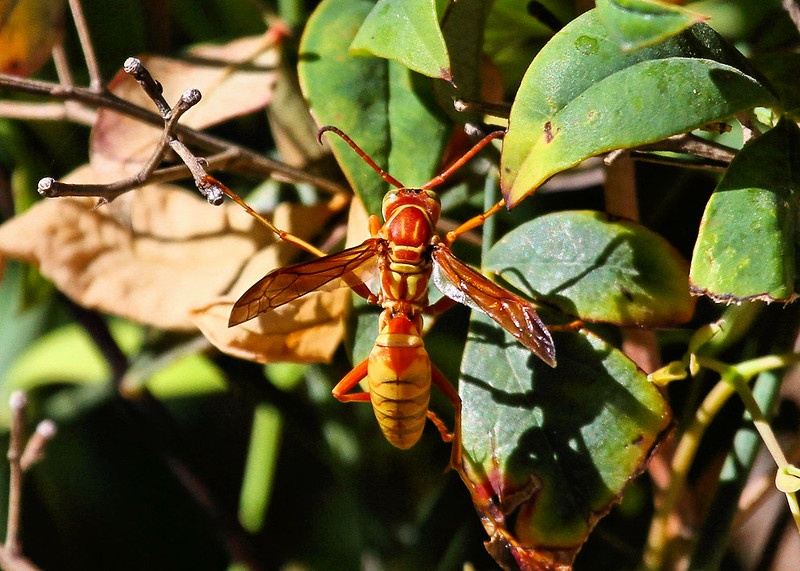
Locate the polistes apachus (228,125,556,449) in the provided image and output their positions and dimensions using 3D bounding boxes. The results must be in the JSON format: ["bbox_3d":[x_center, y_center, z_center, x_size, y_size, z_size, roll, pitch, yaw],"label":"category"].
[{"bbox_3d":[0.001,0.001,1.132,0.414,0.398,0.145,12,-18,-10],"label":"polistes apachus"}]
